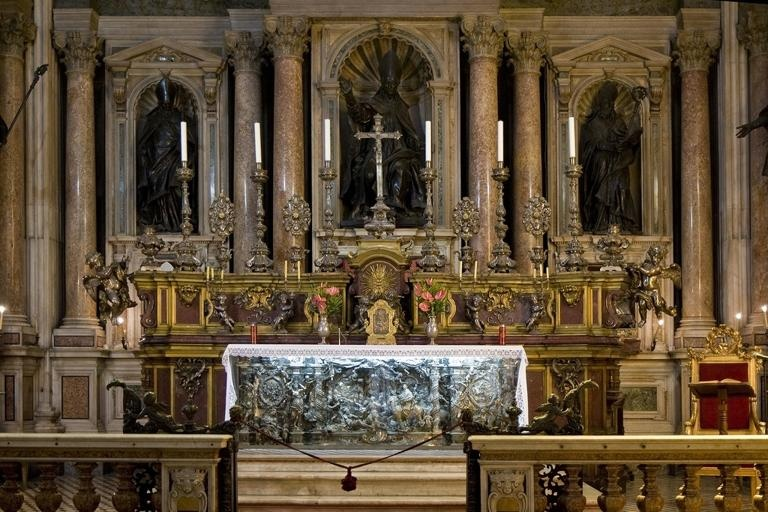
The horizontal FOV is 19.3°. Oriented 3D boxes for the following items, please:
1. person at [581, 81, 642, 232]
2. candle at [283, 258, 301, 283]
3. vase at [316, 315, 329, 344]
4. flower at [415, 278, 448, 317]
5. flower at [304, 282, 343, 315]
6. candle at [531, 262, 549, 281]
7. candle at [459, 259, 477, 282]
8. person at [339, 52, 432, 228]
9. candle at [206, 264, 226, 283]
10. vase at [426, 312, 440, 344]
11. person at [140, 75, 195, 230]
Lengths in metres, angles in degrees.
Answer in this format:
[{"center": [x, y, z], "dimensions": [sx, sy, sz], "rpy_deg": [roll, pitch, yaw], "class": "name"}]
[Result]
[{"center": [3.752, -1.657, 37.682], "dimensions": [1.000, 2.530, 0.803], "rpy_deg": [-2, -9, 5], "class": "person"}, {"center": [-1.373, 0.256, 33.980], "dimensions": [0.269, 0.369, 0.548], "rpy_deg": [-1, -10, -2], "class": "candle"}, {"center": [-0.898, 1.056, 33.448], "dimensions": [0.178, 0.438, 0.285], "rpy_deg": [-1, -9, -2], "class": "vase"}, {"center": [0.704, 0.623, 33.538], "dimensions": [0.473, 0.542, 0.477], "rpy_deg": [-1, -9, 0], "class": "flower"}, {"center": [-0.900, 0.618, 33.523], "dimensions": [0.478, 0.441, 0.481], "rpy_deg": [4, 3, 32], "class": "flower"}, {"center": [2.340, 0.231, 33.789], "dimensions": [0.262, 0.273, 0.256], "rpy_deg": [0, -1, 3], "class": "candle"}, {"center": [1.238, 0.227, 33.993], "dimensions": [0.349, 0.416, 0.291], "rpy_deg": [1, 3, 10], "class": "candle"}, {"center": [-0.006, -1.952, 37.387], "dimensions": [1.412, 2.991, 1.058], "rpy_deg": [-1, -9, -1], "class": "person"}, {"center": [-2.521, 0.274, 33.790], "dimensions": [0.276, 0.272, 0.450], "rpy_deg": [-1, -10, -3], "class": "candle"}, {"center": [0.706, 1.080, 33.447], "dimensions": [0.171, 0.452, 0.395], "rpy_deg": [-1, -9, 1], "class": "vase"}, {"center": [-3.638, -1.661, 37.915], "dimensions": [1.016, 2.502, 0.546], "rpy_deg": [0, -9, -7], "class": "person"}]
